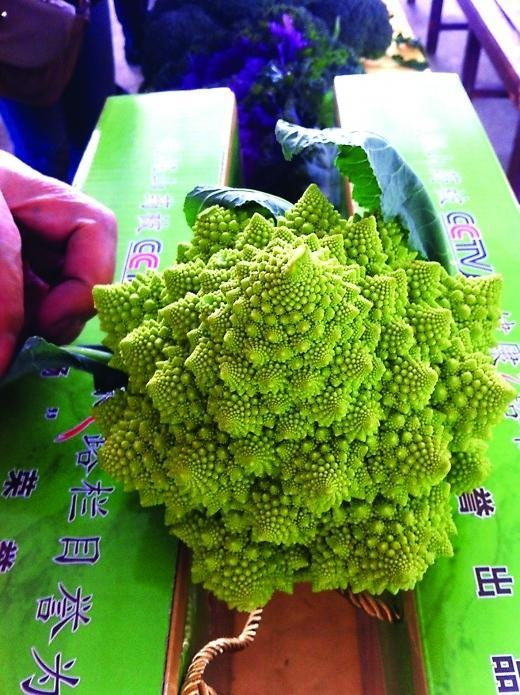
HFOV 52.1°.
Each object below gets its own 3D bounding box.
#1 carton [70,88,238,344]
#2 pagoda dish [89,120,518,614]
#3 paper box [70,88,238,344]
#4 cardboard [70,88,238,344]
[{"bbox_3d":[-0.219,-0.284,1.374,0.369,0.692,0.462,-13,21,-38],"label":"carton"},{"bbox_3d":[0.081,0.057,0.814,0.521,0.659,0.382,-9,19,1],"label":"pagoda dish"},{"bbox_3d":[-0.200,-0.372,1.366,0.369,0.692,0.462,-13,21,-38],"label":"paper box"},{"bbox_3d":[-0.174,-0.225,1.622,0.482,0.233,1.028,0,61,8],"label":"cardboard"}]
